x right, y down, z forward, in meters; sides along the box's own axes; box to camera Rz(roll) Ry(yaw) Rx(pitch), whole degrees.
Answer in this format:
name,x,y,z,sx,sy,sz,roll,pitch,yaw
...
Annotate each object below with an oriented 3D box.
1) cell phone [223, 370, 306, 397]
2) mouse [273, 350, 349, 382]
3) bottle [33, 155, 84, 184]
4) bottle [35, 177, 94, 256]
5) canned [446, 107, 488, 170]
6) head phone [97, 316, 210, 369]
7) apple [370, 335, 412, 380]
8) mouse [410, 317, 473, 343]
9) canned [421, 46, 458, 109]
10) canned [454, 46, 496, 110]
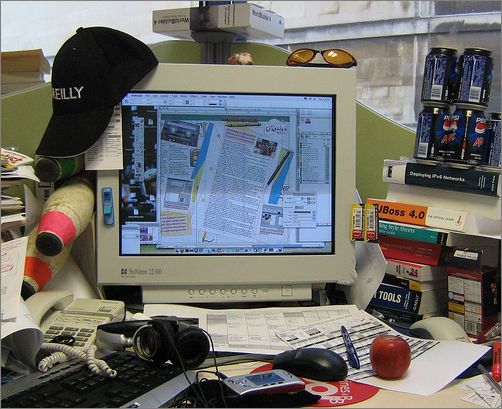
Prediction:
name,x,y,z,sx,sy,sz,roll,pitch,yaw
cell phone,0.024,0.309,0.845,0.093,0.015,0.052,-2,7,-13
mouse,0.114,0.303,0.907,0.109,0.041,0.059,4,1,23
bottle,-0.425,-0.089,1.125,0.047,0.051,0.175,-29,6,15
bottle,-0.400,0.018,1.040,0.070,0.076,0.227,11,20,-5
canned,0.555,-0.185,1.242,0.120,0.170,0.124,9,5,24
head phone,-0.185,0.274,0.927,0.176,0.071,0.186,16,-22,-32
apple,0.270,0.292,0.934,0.076,0.077,0.077,-2,3,-13
mouse,0.423,0.287,1.080,0.129,0.047,0.074,9,14,26
canned,0.491,-0.325,1.251,0.083,0.155,0.083,7,-3,35
canned,0.560,-0.320,1.204,0.082,0.140,0.048,7,12,21
